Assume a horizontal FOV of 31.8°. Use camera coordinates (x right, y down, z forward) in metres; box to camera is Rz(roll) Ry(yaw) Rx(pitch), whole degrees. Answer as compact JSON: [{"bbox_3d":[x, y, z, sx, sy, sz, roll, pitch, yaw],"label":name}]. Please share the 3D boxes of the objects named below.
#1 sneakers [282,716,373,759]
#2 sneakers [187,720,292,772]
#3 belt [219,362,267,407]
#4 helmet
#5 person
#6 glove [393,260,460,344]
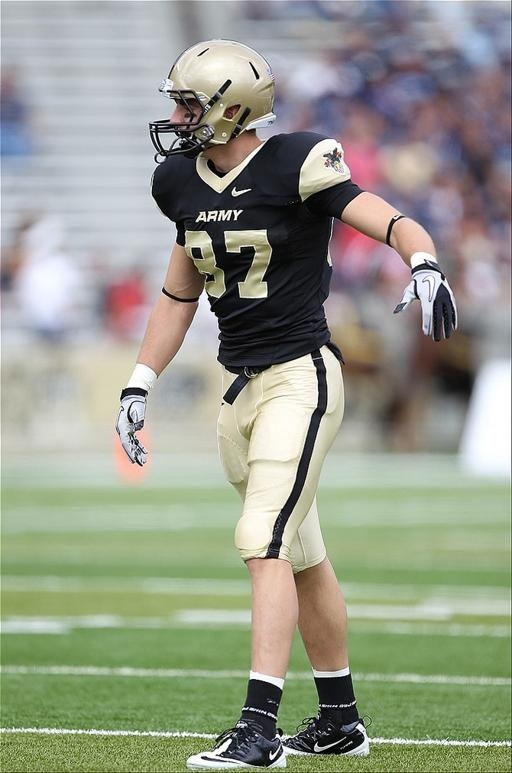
[{"bbox_3d":[0.165,0.833,2.155,0.256,0.089,0.078,2,-2,6],"label":"sneakers"},{"bbox_3d":[-0.030,0.716,1.791,0.243,0.085,0.076,4,-6,-17],"label":"sneakers"},{"bbox_3d":[-0.036,-0.008,2.072,0.023,0.098,0.073,53,14,18],"label":"belt"},{"bbox_3d":[-0.102,-0.673,2.150,0.375,0.276,0.268,-1,9,-6],"label":"helmet"},{"bbox_3d":[0.021,0.046,2.036,0.633,1.742,0.901,0,2,-11],"label":"person"},{"bbox_3d":[0.311,-0.157,1.760,0.136,0.169,0.066,-18,0,-10],"label":"glove"}]
